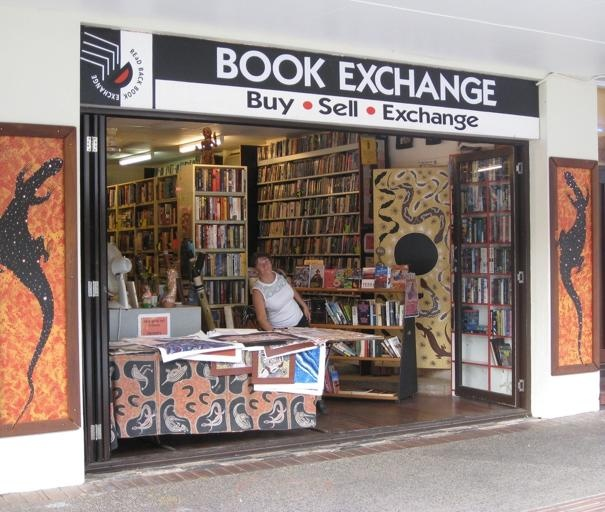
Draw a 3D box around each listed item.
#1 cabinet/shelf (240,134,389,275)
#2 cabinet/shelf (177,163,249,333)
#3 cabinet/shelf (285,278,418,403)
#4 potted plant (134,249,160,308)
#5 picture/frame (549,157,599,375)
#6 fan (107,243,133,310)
[{"bbox_3d":[0.227,-1.013,9.858,2.250,2.068,0.747,-2,-4,32],"label":"cabinet/shelf"},{"bbox_3d":[-1.463,-0.433,9.217,0.950,2.741,0.773,0,31,-11],"label":"cabinet/shelf"},{"bbox_3d":[0.608,0.968,6.191,1.516,1.334,0.633,0,3,17],"label":"cabinet/shelf"},{"bbox_3d":[-1.513,0.163,5.351,0.186,0.532,0.121,0,36,-19],"label":"potted plant"},{"bbox_3d":[2.883,0.097,5.697,0.820,2.292,0.215,2,-5,-35],"label":"picture/frame"},{"bbox_3d":[-1.725,0.185,5.084,0.186,0.603,0.427,1,-4,-21],"label":"fan"}]
